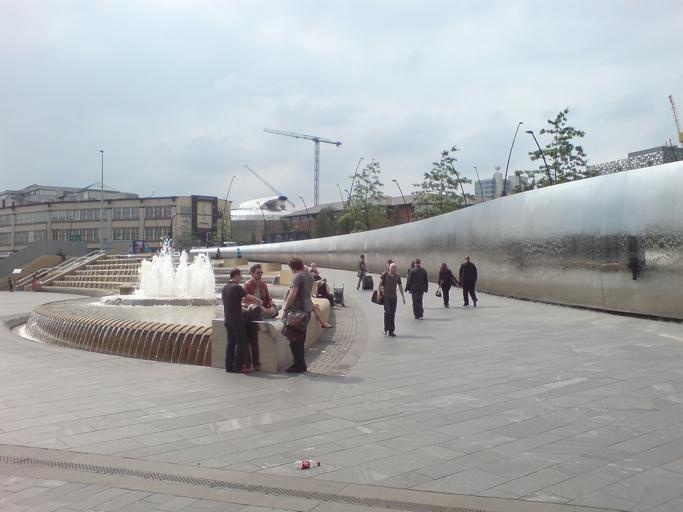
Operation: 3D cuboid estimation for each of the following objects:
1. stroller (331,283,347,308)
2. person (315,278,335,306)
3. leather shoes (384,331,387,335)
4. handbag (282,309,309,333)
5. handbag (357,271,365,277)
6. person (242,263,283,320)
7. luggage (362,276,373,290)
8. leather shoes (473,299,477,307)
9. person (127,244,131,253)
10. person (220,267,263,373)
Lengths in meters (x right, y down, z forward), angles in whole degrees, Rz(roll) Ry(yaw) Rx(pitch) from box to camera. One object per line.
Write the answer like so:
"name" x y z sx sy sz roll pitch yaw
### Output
"stroller" 0.070 1.435 20.939 0.483 0.922 0.627 0 -7 1
"person" -0.626 1.079 19.344 0.515 0.344 0.916 1 12 -13
"leather shoes" 1.010 1.792 13.927 0.094 0.049 0.136 0 2 1
"handbag" -0.737 1.032 9.505 0.301 0.301 0.149 11 23 -22
"handbag" 0.995 0.988 29.481 0.206 0.345 0.386 4 -9 -11
"person" -1.342 0.620 10.202 0.614 0.909 0.627 0 -1 -19
"luggage" 1.350 1.335 28.830 0.452 0.633 0.630 3 -7 -32
"leather shoes" 4.416 1.589 19.844 0.157 0.291 0.209 -3 0 24
"person" -39.559 -1.253 111.066 1.134 1.391 1.993 5 -8 -19
"person" -1.679 1.040 9.746 0.533 1.677 0.419 -1 3 -19
